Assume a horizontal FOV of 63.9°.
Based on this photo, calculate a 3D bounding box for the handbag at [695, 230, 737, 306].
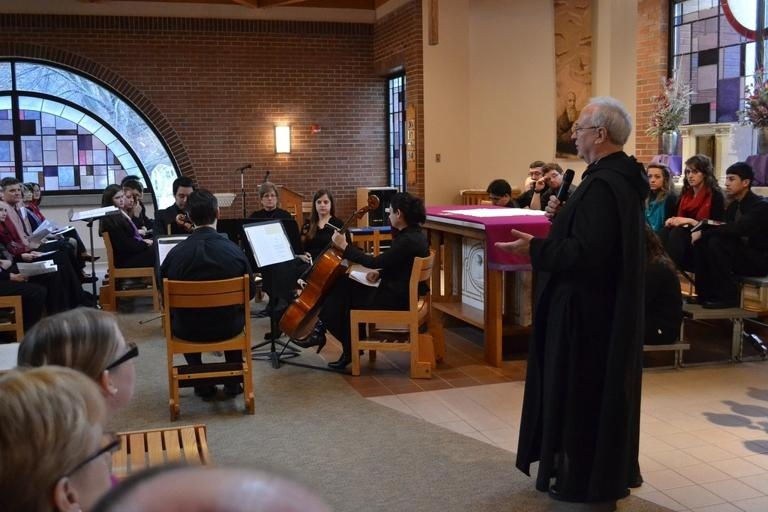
[{"bbox_3d":[3.256,0.137,6.016,0.385,0.661,0.531,4,11,28],"label":"handbag"}]

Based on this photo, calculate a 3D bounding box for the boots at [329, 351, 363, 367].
[{"bbox_3d":[-0.422,1.003,5.940,0.409,0.176,0.137,-10,4,42],"label":"boots"}]

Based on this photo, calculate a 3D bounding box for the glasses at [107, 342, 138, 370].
[{"bbox_3d":[-1.011,0.388,2.371,0.081,0.022,0.080,-37,19,-24],"label":"glasses"}]

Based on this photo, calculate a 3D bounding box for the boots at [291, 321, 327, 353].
[{"bbox_3d":[-0.691,0.762,6.044,0.406,0.320,0.165,12,16,33],"label":"boots"}]

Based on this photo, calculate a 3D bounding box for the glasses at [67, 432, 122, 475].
[{"bbox_3d":[-0.788,0.540,1.671,0.122,0.036,0.119,-37,8,-26],"label":"glasses"}]

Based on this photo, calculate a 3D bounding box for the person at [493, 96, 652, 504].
[{"bbox_3d":[1.101,0.305,3.426,0.709,2.321,0.595,3,11,23],"label":"person"}]

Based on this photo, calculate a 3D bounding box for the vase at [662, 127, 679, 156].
[{"bbox_3d":[4.196,-1.662,8.984,0.320,0.358,0.328,-1,-1,-1],"label":"vase"}]

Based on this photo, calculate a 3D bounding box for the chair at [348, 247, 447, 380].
[{"bbox_3d":[0.153,0.517,6.228,1.087,1.431,1.054,2,1,5],"label":"chair"}]

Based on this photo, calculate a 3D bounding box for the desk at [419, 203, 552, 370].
[{"bbox_3d":[1.224,0.155,6.322,1.284,1.477,2.240,-3,7,-17],"label":"desk"}]
